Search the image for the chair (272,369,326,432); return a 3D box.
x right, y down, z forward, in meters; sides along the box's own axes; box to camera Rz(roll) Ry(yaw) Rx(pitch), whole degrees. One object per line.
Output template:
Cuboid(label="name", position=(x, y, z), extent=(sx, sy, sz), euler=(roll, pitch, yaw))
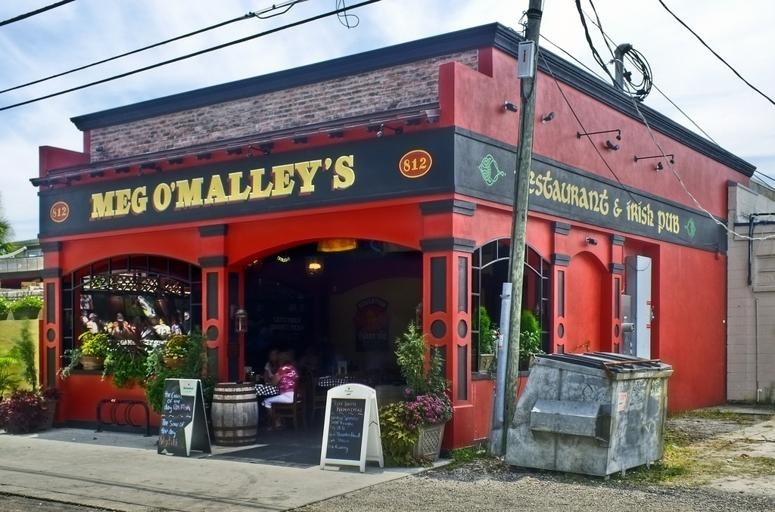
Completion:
Cuboid(label="chair", position=(-1.890, 3.275, 17.086), extent=(1.187, 1.771, 1.092), euler=(0, -4, 19))

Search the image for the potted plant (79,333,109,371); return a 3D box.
Cuboid(label="potted plant", position=(-7.147, 2.286, 17.924), extent=(0.858, 0.925, 0.919), euler=(5, -6, -14))

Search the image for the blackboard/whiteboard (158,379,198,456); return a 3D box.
Cuboid(label="blackboard/whiteboard", position=(-4.072, 3.148, 14.673), extent=(0.740, 1.515, 0.814), euler=(0, 1, 12))

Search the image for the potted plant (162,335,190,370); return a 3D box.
Cuboid(label="potted plant", position=(-4.650, 2.057, 16.345), extent=(0.389, 0.697, 0.633), euler=(10, -33, -10))

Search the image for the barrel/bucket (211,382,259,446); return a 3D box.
Cuboid(label="barrel/bucket", position=(-3.393, 3.151, 14.939), extent=(0.726, 1.342, 1.507), euler=(11, -1, -28))

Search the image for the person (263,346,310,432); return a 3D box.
Cuboid(label="person", position=(-2.275, 2.894, 16.373), extent=(1.156, 1.616, 0.794), euler=(8, -4, -2))

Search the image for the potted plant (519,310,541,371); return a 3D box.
Cuboid(label="potted plant", position=(3.021, 1.741, 15.756), extent=(0.380, 1.274, 0.766), euler=(0, 0, 14))

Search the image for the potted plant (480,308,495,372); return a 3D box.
Cuboid(label="potted plant", position=(1.982, 1.657, 14.971), extent=(0.529, 1.305, 0.241), euler=(0, 0, -45))

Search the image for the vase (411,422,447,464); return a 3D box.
Cuboid(label="vase", position=(0.748, 3.371, 13.600), extent=(0.807, 0.644, 0.614), euler=(7, -11, -43))

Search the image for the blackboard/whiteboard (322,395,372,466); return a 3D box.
Cuboid(label="blackboard/whiteboard", position=(-0.751, 3.079, 13.218), extent=(0.804, 1.121, 0.352), euler=(0, 0, 18))

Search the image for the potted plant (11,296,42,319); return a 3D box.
Cuboid(label="potted plant", position=(-9.279, 1.324, 19.156), extent=(0.747, 0.441, 0.732), euler=(1, 1, -10))
